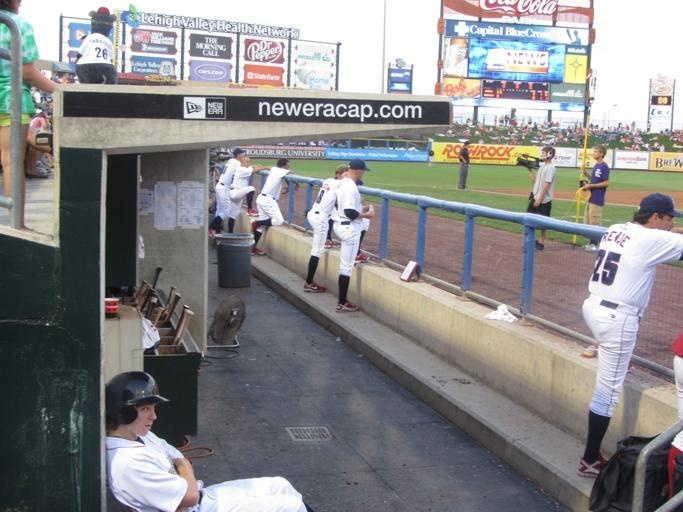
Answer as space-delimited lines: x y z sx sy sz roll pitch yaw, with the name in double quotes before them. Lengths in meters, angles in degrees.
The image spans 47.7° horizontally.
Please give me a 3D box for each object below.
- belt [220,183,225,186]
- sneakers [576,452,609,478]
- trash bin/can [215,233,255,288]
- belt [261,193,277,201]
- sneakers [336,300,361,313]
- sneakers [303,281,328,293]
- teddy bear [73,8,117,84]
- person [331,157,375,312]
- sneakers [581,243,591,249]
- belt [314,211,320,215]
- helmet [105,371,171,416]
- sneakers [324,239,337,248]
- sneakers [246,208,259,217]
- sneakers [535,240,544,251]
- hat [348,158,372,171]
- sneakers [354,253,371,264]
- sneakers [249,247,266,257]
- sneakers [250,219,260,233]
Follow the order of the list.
"belt" -2.600 -1.561 16.938 0.090 0.072 0.022 1 0 -2
"sneakers" 2.128 1.763 6.489 0.346 0.142 0.112 -4 6 -11
"trash bin/can" -1.972 0.103 13.962 0.785 0.863 0.817 -1 2 -44
"belt" -1.468 -1.211 15.817 0.203 0.055 0.149 20 1 -3
"sneakers" 0.091 0.794 11.645 0.335 0.134 0.131 -1 4 -17
"sneakers" -0.441 0.541 12.917 0.385 0.158 0.134 0 7 -12
"teddy bear" -2.069 -1.778 6.503 0.336 0.656 0.715 -2 12 -16
"person" 0.156 -0.310 11.645 0.564 2.287 0.946 2 13 1
"sneakers" 2.381 -0.094 7.557 0.062 0.064 0.154 -1 -1 9
"belt" -0.407 -0.710 12.759 0.081 0.068 0.019 0 -7 32
"helmet" -1.360 0.876 5.100 0.421 0.223 0.296 5 8 7
"sneakers" -0.209 -0.210 13.409 0.162 0.141 0.334 0 -5 1
"sneakers" -2.166 -1.030 18.747 0.427 0.177 0.154 1 11 11
"sneakers" 2.108 -0.108 8.251 0.055 0.055 0.135 2 12 3
"hat" 0.251 -1.327 11.389 0.276 0.148 0.187 -10 23 -36
"sneakers" 0.316 0.048 12.300 0.253 0.110 0.099 -8 14 -32
"sneakers" -1.811 -0.079 16.947 0.391 0.160 0.124 2 13 3
"sneakers" -1.826 -0.599 16.399 0.141 0.288 0.258 1 12 -6
